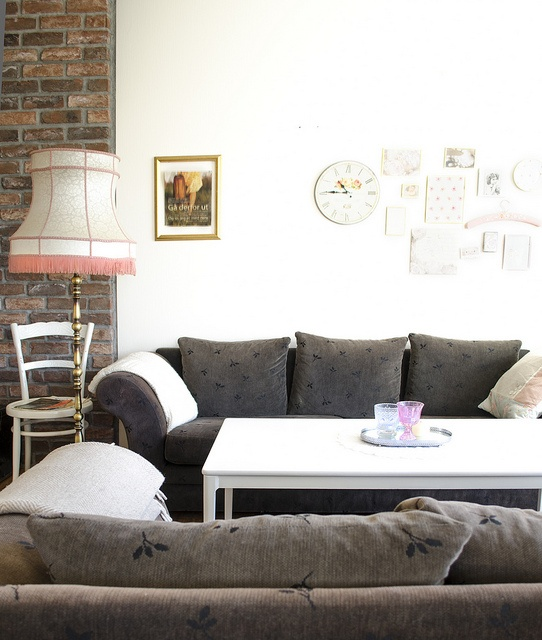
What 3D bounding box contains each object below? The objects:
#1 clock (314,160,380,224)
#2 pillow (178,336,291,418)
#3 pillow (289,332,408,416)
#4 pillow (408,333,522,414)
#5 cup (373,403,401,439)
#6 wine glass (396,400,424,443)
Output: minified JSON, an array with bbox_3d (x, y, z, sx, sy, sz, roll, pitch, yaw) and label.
[{"bbox_3d":[0.400,-0.691,3.244,0.314,0.306,0.030,5,8,3],"label":"clock"},{"bbox_3d":[-0.173,0.286,2.972,0.367,0.276,0.127,0,-18,-1],"label":"pillow"},{"bbox_3d":[0.364,0.268,2.934,0.378,0.295,0.131,2,-14,5],"label":"pillow"},{"bbox_3d":[0.916,0.266,2.935,0.374,0.285,0.140,2,2,8],"label":"pillow"},{"bbox_3d":[0.379,0.331,2.023,0.104,0.110,0.096,2,-4,0],"label":"cup"},{"bbox_3d":[0.452,0.324,2.033,0.110,0.132,0.109,1,-12,1],"label":"wine glass"}]
